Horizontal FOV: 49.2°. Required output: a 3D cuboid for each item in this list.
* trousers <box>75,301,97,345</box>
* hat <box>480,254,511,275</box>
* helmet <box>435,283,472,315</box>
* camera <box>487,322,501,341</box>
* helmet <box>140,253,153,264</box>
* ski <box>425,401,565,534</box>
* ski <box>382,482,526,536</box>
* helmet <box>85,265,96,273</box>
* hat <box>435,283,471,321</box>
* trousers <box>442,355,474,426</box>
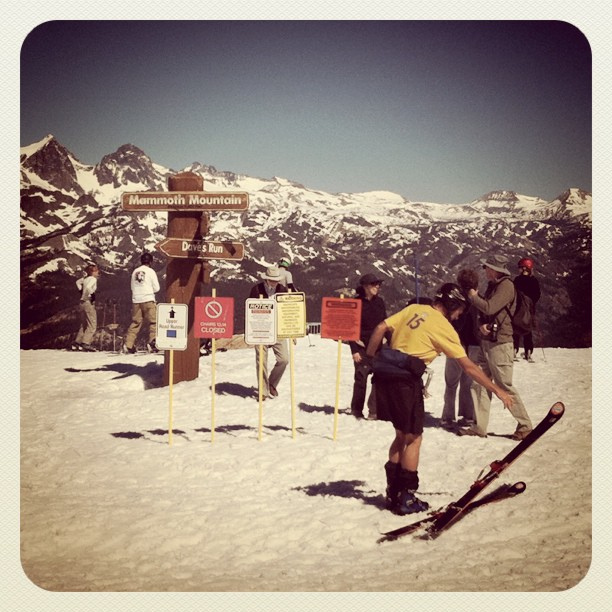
[{"bbox_3d":[-5.352,0.417,16.207,0.512,1.204,1.158,-4,8,-20],"label":"trousers"},{"bbox_3d":[2.639,-0.601,9.269,0.339,0.133,0.343,33,17,23],"label":"hat"},{"bbox_3d":[1.665,-0.088,7.612,0.330,0.405,0.427,3,4,25],"label":"helmet"},{"bbox_3d":[2.539,0.332,9.012,0.240,0.333,0.127,1,-1,4],"label":"camera"},{"bbox_3d":[-3.358,-0.998,14.072,0.194,0.248,0.251,2,17,-2],"label":"helmet"},{"bbox_3d":[2.325,2.010,8.244,0.161,1.683,0.233,37,7,-26],"label":"ski"},{"bbox_3d":[1.599,2.212,7.245,1.298,0.074,0.142,-21,10,-23],"label":"ski"},{"bbox_3d":[-4.995,-0.870,15.514,0.157,0.188,0.396,-5,9,-25],"label":"helmet"},{"bbox_3d":[1.707,-0.034,7.679,0.413,0.482,0.492,4,-2,-20],"label":"hat"},{"bbox_3d":[2.211,1.184,9.963,0.240,1.145,0.312,11,-31,-8],"label":"trousers"}]
